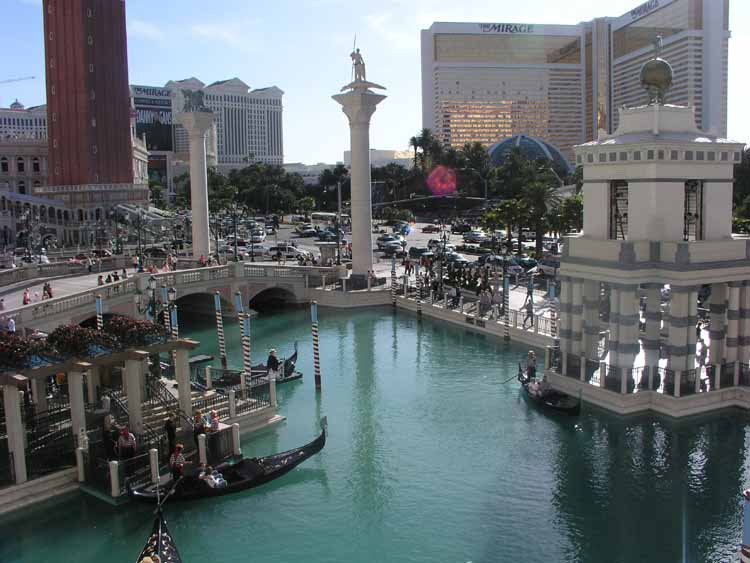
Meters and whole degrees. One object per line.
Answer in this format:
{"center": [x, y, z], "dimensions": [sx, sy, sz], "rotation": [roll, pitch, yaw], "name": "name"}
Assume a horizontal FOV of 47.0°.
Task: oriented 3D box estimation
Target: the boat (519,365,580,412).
{"center": [7.819, 5.027, 39.565], "dimensions": [0.925, 1.277, 4.066], "rotation": [-9, 13, -18], "name": "boat"}

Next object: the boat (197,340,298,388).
{"center": [-6.140, 4.403, 42.357], "dimensions": [4.691, 2.069, 3.299], "rotation": [0, 8, -13], "name": "boat"}
